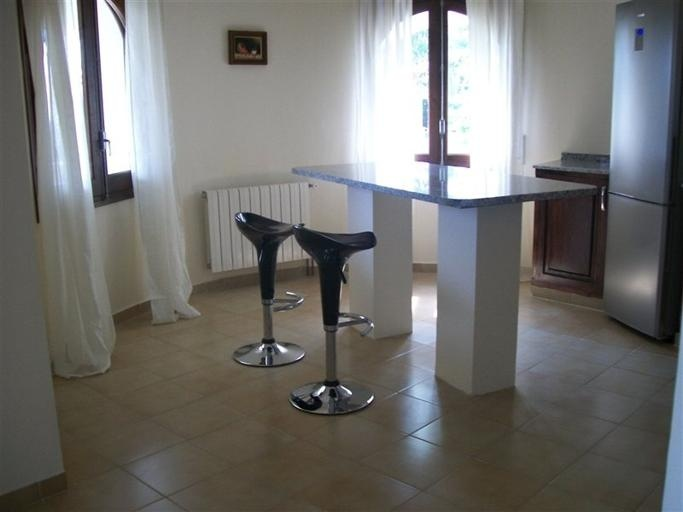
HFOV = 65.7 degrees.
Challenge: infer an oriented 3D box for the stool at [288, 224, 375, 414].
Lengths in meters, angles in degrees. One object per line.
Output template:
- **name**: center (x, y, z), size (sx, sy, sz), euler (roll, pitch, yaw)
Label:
- **stool**: center (-0.056, 0.337, 3.138), size (0.503, 1.058, 0.581), euler (2, 17, 19)

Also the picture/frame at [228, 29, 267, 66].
- **picture/frame**: center (-0.911, -2.020, 5.063), size (0.337, 0.299, 0.028), euler (-5, 12, -21)

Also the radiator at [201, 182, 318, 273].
- **radiator**: center (-0.795, -0.288, 4.745), size (0.843, 0.630, 0.061), euler (-7, 15, -25)
